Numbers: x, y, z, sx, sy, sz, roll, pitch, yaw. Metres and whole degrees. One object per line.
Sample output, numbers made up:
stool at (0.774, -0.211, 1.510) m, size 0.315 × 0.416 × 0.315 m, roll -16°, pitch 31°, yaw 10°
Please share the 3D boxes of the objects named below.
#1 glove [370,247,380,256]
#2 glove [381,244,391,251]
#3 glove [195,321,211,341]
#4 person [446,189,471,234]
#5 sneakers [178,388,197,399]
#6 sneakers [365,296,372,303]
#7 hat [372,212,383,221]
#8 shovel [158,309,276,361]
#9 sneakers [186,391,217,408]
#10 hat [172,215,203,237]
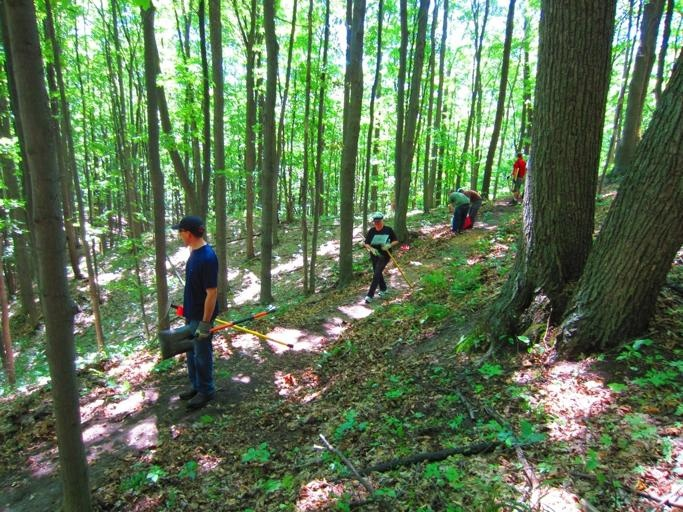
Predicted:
glove at (0.780, -0.083, 12.763) m, size 0.224 × 0.116 × 0.143 m, roll 41°, pitch 53°, yaw 20°
glove at (1.066, -0.210, 12.761) m, size 0.261 × 0.152 × 0.119 m, roll -14°, pitch 21°, yaw -31°
glove at (-2.146, 1.217, 8.723) m, size 0.222 × 0.290 × 0.291 m, roll 20°, pitch -22°, yaw 5°
person at (3.532, -1.308, 16.444) m, size 0.578 × 1.228 × 0.634 m, roll 1°, pitch 19°, yaw 12°
sneakers at (-2.499, 2.246, 8.915) m, size 0.305 × 0.132 × 0.114 m, roll 1°, pitch 14°, yaw -18°
sneakers at (0.604, 1.001, 12.502) m, size 0.143 × 0.114 × 0.128 m, roll -14°, pitch -14°, yaw 40°
hat at (0.844, -0.948, 12.808) m, size 0.202 × 0.157 × 0.301 m, roll -5°, pitch -5°, yaw 8°
shovel at (-2.218, 1.276, 9.021) m, size 0.724 × 0.511 × 1.503 m, roll 12°, pitch 24°, yaw 38°
sneakers at (-2.269, 2.306, 8.775) m, size 0.174 × 0.179 × 0.413 m, roll 12°, pitch 12°, yaw 43°
hat at (-2.436, -0.452, 8.811) m, size 0.391 × 0.365 × 0.216 m, roll -4°, pitch 18°, yaw -3°
